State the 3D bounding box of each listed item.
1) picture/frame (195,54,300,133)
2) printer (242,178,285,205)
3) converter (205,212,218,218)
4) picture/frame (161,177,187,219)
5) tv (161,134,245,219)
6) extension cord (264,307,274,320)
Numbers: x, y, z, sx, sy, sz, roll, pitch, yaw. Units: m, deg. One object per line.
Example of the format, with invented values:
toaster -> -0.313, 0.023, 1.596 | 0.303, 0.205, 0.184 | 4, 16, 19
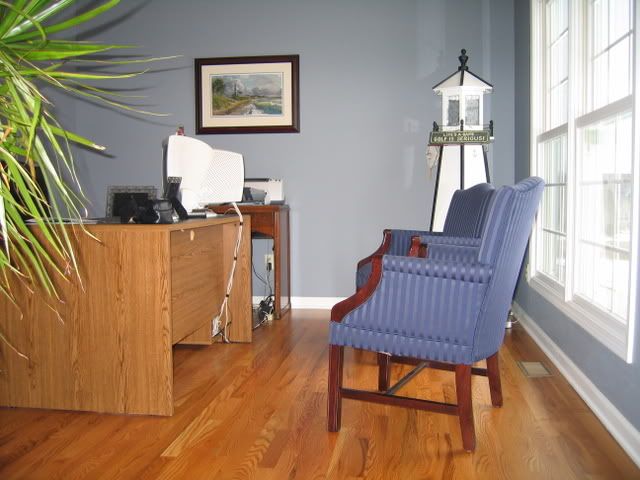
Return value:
picture/frame -> -0.629, -1.395, 4.505 | 0.688, 0.538, 0.030 | 0, 4, 1
printer -> -0.493, -0.453, 4.372 | 0.348, 0.215, 0.386 | -1, 8, -5
converter -> -0.733, -0.173, 3.282 | 0.062, 0.020, 0.073 | 2, 7, 3
picture/frame -> -0.836, -0.246, 2.842 | 0.066, 0.247, 0.157 | 4, 10, 23
tv -> -0.711, -0.433, 3.198 | 0.416, 0.430, 0.574 | 2, -6, -3
extension cord -> -0.433, 0.618, 4.158 | 0.057, 0.111, 0.107 | 0, 0, 9
